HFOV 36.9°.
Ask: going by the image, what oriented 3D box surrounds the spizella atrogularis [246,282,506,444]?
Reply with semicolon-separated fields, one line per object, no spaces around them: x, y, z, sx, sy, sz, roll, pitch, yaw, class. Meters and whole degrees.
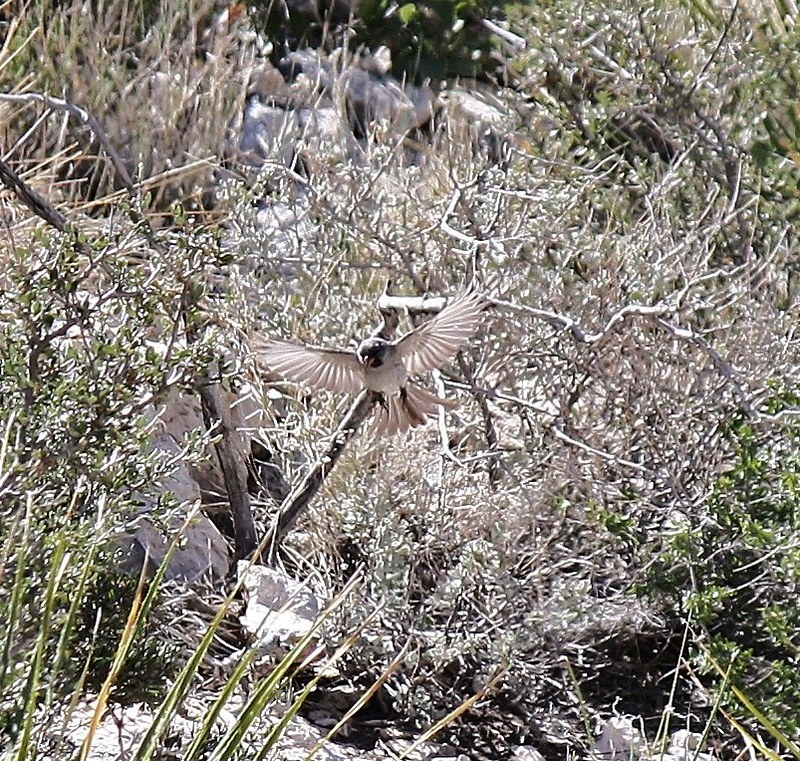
-0.029;-0.031;2.656;0.474;0.220;0.322;-23;-14;-6;spizella atrogularis
